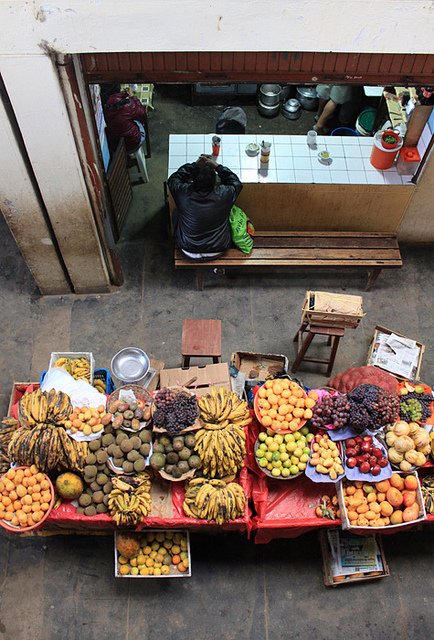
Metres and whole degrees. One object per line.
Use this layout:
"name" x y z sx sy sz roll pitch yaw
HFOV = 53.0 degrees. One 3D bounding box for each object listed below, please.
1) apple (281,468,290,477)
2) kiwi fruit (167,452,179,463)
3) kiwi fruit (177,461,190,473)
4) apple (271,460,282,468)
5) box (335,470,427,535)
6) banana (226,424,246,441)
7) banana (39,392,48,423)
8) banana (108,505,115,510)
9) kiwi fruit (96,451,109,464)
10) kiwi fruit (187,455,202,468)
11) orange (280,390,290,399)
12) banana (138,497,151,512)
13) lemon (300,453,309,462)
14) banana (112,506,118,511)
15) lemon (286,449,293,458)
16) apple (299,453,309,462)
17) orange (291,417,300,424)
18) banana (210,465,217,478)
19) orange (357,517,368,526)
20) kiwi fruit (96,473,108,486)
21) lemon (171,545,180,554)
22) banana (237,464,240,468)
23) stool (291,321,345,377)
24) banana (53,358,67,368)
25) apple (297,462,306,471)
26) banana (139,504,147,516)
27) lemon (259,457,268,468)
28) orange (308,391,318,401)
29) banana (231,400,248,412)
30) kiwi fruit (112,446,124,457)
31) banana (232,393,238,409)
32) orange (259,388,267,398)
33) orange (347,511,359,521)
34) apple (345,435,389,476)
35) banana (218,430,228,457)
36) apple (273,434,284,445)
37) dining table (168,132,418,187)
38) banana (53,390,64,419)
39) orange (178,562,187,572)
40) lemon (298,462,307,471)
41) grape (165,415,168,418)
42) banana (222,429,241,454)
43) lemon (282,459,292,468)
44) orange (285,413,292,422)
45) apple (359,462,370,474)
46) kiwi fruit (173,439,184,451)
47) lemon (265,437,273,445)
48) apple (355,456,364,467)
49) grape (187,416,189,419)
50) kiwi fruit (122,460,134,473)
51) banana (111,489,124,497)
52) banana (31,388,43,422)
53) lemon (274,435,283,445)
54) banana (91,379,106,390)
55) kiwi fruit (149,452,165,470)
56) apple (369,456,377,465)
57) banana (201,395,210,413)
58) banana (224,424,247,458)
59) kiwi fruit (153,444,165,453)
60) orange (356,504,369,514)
"apple" 0.528 1.193 3.396 0.056 0.057 0.059 -11 97 -16
"kiwi fruit" -0.332 1.029 3.252 0.076 0.068 0.064 0 54 -3
"kiwi fruit" -0.254 1.107 3.253 0.080 0.046 0.082 38 46 -28
"apple" 0.455 1.120 3.408 0.060 0.063 0.062 0 94 10
"box" 1.253 1.547 3.470 0.539 0.206 0.581 -1 70 -5
"banana" 0.147 0.877 3.413 0.160 0.044 0.094 36 87 2
"banana" -1.335 0.687 3.371 0.053 0.061 0.212 3 62 -2
"banana" -0.806 1.445 3.340 0.024 0.051 0.017 49 29 3
"kiwi fruit" -0.892 1.070 3.384 0.070 0.072 0.095 21 86 -23
"kiwi fruit" -0.166 1.055 3.284 0.077 0.095 0.080 28 95 -6
"orange" 0.566 0.622 3.612 0.056 0.058 0.066 -24 17 -35
"banana" -0.559 1.415 3.332 0.057 0.192 0.045 -38 46 -8
"lemon" 0.676 1.081 3.396 0.052 0.057 0.055 14 16 9
"banana" -0.778 1.431 3.294 0.021 0.009 0.027 -26 75 0
"lemon" 0.573 1.068 3.445 0.038 0.029 0.051 -1 90 -8
"apple" 0.676 1.080 3.397 0.057 0.061 0.061 -1 38 1
"orange" 0.632 0.820 3.518 0.063 0.035 0.055 9 54 3
"banana" -0.028 1.176 3.353 0.044 0.024 0.081 3 97 -2
"orange" 1.097 1.536 3.302 0.085 0.032 0.062 6 54 1
"kiwi fruit" -0.894 1.250 3.407 0.078 0.076 0.080 -8 55 -9
"lemon" -0.361 2.018 3.811 0.060 0.038 0.063 -21 90 1
"banana" 0.168 1.169 3.459 0.025 0.006 0.024 8 83 -41
"stool" 1.190 0.302 5.195 0.609 0.864 0.666 6 72 3
"banana" -1.552 0.427 4.342 0.075 0.038 0.138 39 80 23
"apple" 0.662 1.150 3.416 0.055 0.070 0.057 -4 14 5
"banana" -0.553 1.431 3.274 0.044 0.022 0.084 -10 72 -33
"lemon" 0.365 1.129 3.439 0.057 0.073 0.060 3 14 5
"orange" 0.794 0.639 3.629 0.061 0.077 0.066 -2 74 13
"banana" 0.192 0.702 3.543 0.035 0.050 0.177 4 13 30
"kiwi fruit" -0.769 1.024 3.369 0.087 0.069 0.070 36 60 21
"banana" 0.147 0.656 3.602 0.032 0.023 0.095 20 69 -26
"orange" 0.381 0.623 3.680 0.055 0.058 0.068 -20 22 20
"orange" 1.038 1.508 3.342 0.064 0.052 0.052 3 34 6
"apple" 1.160 1.040 3.382 0.327 0.100 0.302 6 54 1
"banana" 0.039 0.932 3.250 0.049 0.052 0.170 -18 72 0
"apple" 0.486 0.953 3.454 0.059 0.072 0.062 -15 70 6
"dining table" 0.988 -1.995 5.484 2.138 0.525 0.635 0 80 -2
"banana" -1.252 0.660 3.454 0.044 0.056 0.176 16 61 -5
"orange" -0.306 2.147 3.772 0.065 0.042 0.074 0 93 20
"lemon" 0.662 1.151 3.448 0.058 0.072 0.062 16 50 7
"grape" -0.378 0.730 3.283 0.014 0.005 0.014 5 63 8
"banana" 0.103 0.923 3.310 0.067 0.081 0.255 -29 99 -30
"lemon" 0.545 1.134 3.423 0.056 0.070 0.061 -4 85 -1
"orange" 0.575 0.791 3.523 0.044 0.056 0.046 -2 15 6
"apple" 1.118 1.129 3.314 0.065 0.087 0.069 1 12 5
"kiwi fruit" -0.285 0.940 3.255 0.068 0.041 0.072 19 79 -11
"lemon" 0.414 0.965 3.476 0.044 0.055 0.045 -12 25 -9
"apple" 1.088 1.092 3.353 0.057 0.064 0.074 -1 101 3
"grape" -0.218 0.738 3.283 0.013 0.004 0.013 1 76 -4
"kiwi fruit" -0.679 1.129 3.344 0.098 0.056 0.081 19 55 10
"banana" -0.754 1.305 3.281 0.062 0.051 0.017 19 16 -15
"banana" -1.396 0.671 3.425 0.081 0.064 0.241 9 45 -9
"lemon" 0.486 0.955 3.447 0.058 0.071 0.062 -1 64 6
"banana" -1.207 0.665 4.466 0.089 0.094 0.024 3 25 45
"kiwi fruit" -0.440 1.049 3.249 0.102 0.108 0.113 16 75 -13
"apple" 1.189 1.083 3.347 0.049 0.053 0.054 4 11 -42
"banana" -0.088 0.655 3.389 0.033 0.042 0.128 7 48 -25
"banana" 0.149 0.919 3.358 0.141 0.077 0.247 -18 73 -52
"kiwi fruit" -0.440 0.978 3.308 0.081 0.044 0.069 -4 54 -6
"orange" 1.112 1.454 3.340 0.077 0.051 0.046 -4 73 -11
